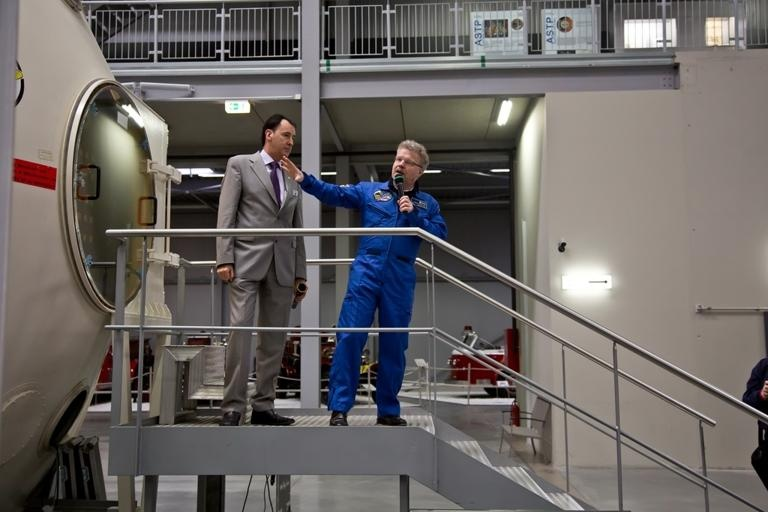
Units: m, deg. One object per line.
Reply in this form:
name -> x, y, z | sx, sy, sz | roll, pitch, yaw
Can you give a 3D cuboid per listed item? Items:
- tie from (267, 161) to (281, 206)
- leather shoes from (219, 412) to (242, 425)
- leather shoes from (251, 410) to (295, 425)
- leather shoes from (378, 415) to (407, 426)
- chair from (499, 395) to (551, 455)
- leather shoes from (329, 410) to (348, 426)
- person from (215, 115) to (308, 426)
tie -> -1.096, -0.766, 9.221 | 0.078, 0.568, 0.074 | 2, -24, -11
leather shoes -> -1.479, 1.557, 8.829 | 0.218, 0.136, 0.167 | 0, -9, -12
leather shoes -> -1.091, 1.582, 9.099 | 0.456, 0.193, 0.170 | 0, -4, 2
leather shoes -> 0.091, 1.602, 8.910 | 0.272, 0.134, 0.109 | -3, -5, 12
chair -> 2.011, 2.397, 12.834 | 0.679, 0.780, 2.295 | -3, -9, 7
leather shoes -> -0.435, 1.577, 8.856 | 0.177, 0.199, 0.091 | 1, -6, 1
person -> -1.225, 0.122, 9.127 | 0.900, 3.080, 0.558 | 1, -8, -13
